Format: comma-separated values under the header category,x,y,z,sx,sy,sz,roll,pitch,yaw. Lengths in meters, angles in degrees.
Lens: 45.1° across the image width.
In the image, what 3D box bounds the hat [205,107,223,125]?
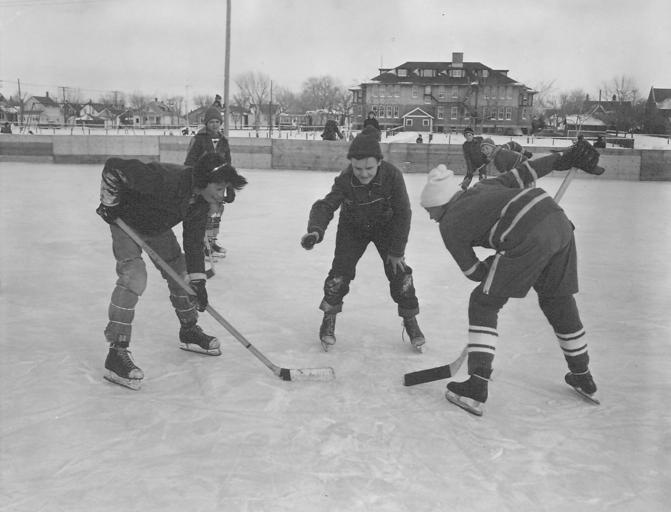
category,x,y,z,sx,sy,sz,roll,pitch,yaw
hat,-1.469,-1.692,9.795,0.198,0.165,0.267,-2,5,-17

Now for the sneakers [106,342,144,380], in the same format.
category,x,y,z,sx,sy,sz,roll,pitch,yaw
sneakers,-1.528,0.763,5.799,0.399,0.246,0.155,8,6,30

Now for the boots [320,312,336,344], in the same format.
category,x,y,z,sx,sy,sz,roll,pitch,yaw
boots,-0.052,0.582,6.536,0.126,0.227,0.326,9,17,-6

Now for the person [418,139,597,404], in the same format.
category,x,y,z,sx,sy,sz,roll,pitch,yaw
person,1.178,0.246,5.499,1.206,1.615,0.458,1,10,4

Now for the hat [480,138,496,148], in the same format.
category,x,y,z,sx,sy,sz,roll,pitch,yaw
hat,2.117,-1.575,11.217,0.157,0.085,0.204,-2,5,4

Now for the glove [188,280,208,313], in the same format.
category,x,y,z,sx,sy,sz,roll,pitch,yaw
glove,-0.974,0.301,5.860,0.069,0.210,0.158,-17,-11,-6

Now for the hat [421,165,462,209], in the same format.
category,x,y,z,sx,sy,sz,roll,pitch,yaw
hat,0.713,-0.476,5.689,0.259,0.267,0.325,-15,4,-1

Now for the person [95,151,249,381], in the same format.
category,x,y,z,sx,sy,sz,roll,pitch,yaw
person,-1.239,0.069,5.952,0.961,1.636,0.718,-3,10,-16

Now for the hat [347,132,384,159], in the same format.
category,x,y,z,sx,sy,sz,roll,pitch,yaw
hat,0.210,-0.829,6.060,0.194,0.152,0.234,-3,9,-21

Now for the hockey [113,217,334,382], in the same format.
category,x,y,z,sx,sy,sz,roll,pitch,yaw
hockey,-0.954,0.411,6.857,0.361,2.505,0.108,-45,-2,-41

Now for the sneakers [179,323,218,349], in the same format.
category,x,y,z,sx,sy,sz,roll,pitch,yaw
sneakers,-1.067,0.646,6.423,0.382,0.182,0.147,2,18,17

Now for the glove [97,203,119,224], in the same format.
category,x,y,z,sx,sy,sz,roll,pitch,yaw
glove,-1.613,-0.327,5.809,0.115,0.163,0.064,-46,11,48
